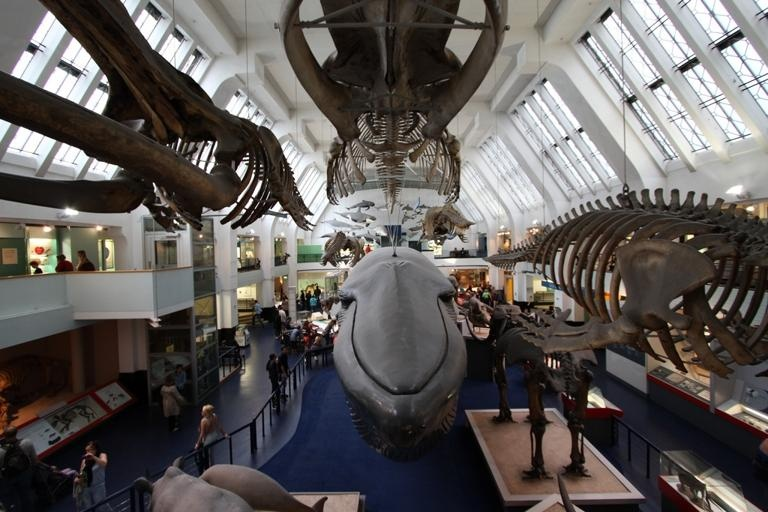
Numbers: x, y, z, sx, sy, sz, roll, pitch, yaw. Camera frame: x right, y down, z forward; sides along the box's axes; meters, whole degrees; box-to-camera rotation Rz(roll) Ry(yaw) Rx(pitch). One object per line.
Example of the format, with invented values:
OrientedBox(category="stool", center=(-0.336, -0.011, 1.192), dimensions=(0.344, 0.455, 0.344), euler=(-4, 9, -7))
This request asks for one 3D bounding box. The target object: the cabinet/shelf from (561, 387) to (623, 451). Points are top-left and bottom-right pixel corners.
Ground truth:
OrientedBox(category="cabinet/shelf", center=(4.280, 3.226, 8.917), dimensions=(0.737, 1.152, 0.533), euler=(-4, -2, 0))

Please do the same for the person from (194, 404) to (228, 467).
OrientedBox(category="person", center=(-3.281, 3.239, 8.510), dimensions=(0.520, 1.178, 1.649), euler=(-4, -2, -22))

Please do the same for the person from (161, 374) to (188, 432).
OrientedBox(category="person", center=(-4.560, 3.096, 9.723), dimensions=(0.399, 1.168, 1.142), euler=(-3, -2, -29))
